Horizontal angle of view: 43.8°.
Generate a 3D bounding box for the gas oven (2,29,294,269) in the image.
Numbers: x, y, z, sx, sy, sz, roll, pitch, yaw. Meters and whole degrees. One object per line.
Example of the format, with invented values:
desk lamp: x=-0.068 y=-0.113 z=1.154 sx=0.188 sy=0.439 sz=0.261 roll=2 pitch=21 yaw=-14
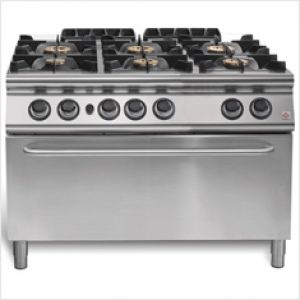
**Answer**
gas oven: x=0.021 y=0.014 z=2.203 sx=1.645 sy=0.948 sz=1.166 roll=0 pitch=12 yaw=-2
